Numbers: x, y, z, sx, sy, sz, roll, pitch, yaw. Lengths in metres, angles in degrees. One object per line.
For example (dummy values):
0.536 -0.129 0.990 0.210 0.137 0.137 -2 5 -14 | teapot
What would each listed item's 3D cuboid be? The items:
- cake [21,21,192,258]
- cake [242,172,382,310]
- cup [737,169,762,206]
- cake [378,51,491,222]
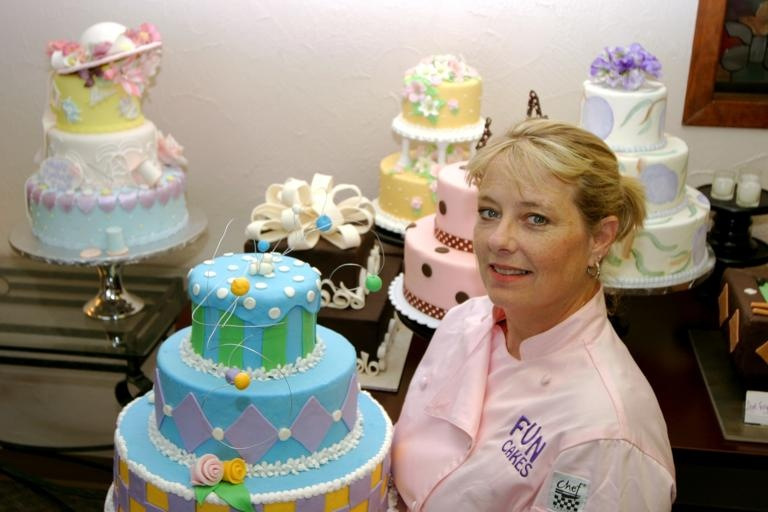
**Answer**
-1.600 -0.680 3.473 0.850 1.052 0.868 -3 16 -2 | cake
-0.309 -0.159 3.144 0.681 0.530 0.665 8 31 -1 | cake
1.987 -0.358 3.398 0.125 0.154 0.191 14 37 27 | cup
0.341 -0.705 3.786 0.790 0.913 0.782 -5 25 -24 | cake
